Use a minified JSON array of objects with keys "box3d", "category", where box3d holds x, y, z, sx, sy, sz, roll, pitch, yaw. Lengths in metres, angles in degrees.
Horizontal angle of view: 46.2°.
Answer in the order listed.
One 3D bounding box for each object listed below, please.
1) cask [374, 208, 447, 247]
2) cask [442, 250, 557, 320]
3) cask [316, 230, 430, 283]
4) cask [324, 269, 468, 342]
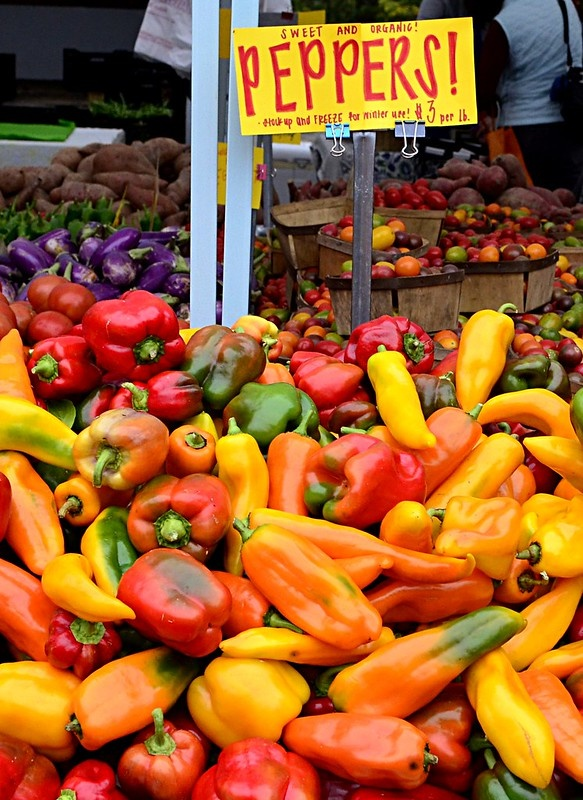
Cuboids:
[{"box3d":[0.966,-1.326,5.538,0.498,0.351,0.440,4,12,21],"category":"cask"},{"box3d":[1.482,-0.706,4.584,0.553,0.298,0.705,4,8,34],"category":"cask"},{"box3d":[0.441,-0.957,4.442,0.640,0.245,0.535,7,20,22],"category":"cask"},{"box3d":[0.594,-0.600,3.692,0.600,0.261,0.466,-10,19,-23],"category":"cask"}]
